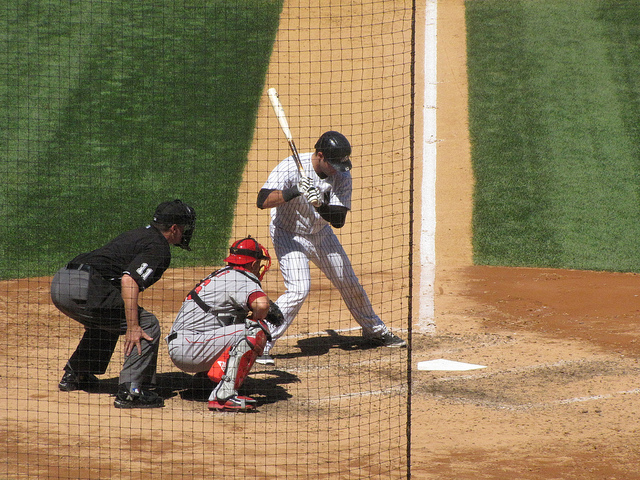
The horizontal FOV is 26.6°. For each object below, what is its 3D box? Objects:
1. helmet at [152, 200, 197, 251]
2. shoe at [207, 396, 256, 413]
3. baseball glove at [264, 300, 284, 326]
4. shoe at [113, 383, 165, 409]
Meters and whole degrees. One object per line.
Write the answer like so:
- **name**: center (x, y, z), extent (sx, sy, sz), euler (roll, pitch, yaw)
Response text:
- **helmet**: center (-1.910, -0.204, 16.624), extent (0.630, 0.521, 0.513), euler (9, -3, -43)
- **shoe**: center (-1.099, 2.002, 16.403), extent (0.632, 0.199, 0.192), euler (0, 1, 3)
- **baseball glove**: center (-0.580, 0.884, 16.361), extent (0.238, 0.274, 0.138), euler (-4, -21, -45)
- **shoe**: center (-2.215, 1.889, 16.440), extent (0.717, 0.250, 0.262), euler (-2, 14, -14)
